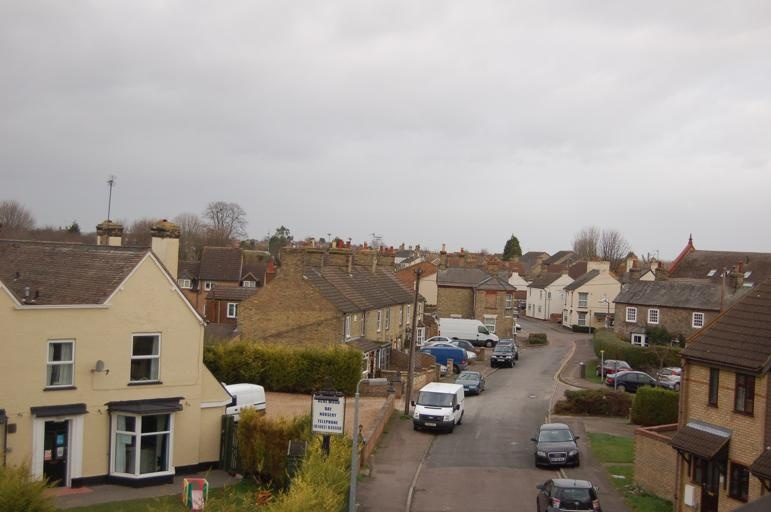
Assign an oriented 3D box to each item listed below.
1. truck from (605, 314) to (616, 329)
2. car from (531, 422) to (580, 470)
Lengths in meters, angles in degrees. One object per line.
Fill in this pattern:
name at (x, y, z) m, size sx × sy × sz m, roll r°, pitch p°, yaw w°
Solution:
truck at (26.409, 7.784, 104.292) m, size 0.901 × 1.783 × 4.247 m, roll 3°, pitch 6°, yaw 12°
car at (9.617, 10.723, 49.800) m, size 2.358 × 1.932 × 5.808 m, roll -4°, pitch -3°, yaw 9°
